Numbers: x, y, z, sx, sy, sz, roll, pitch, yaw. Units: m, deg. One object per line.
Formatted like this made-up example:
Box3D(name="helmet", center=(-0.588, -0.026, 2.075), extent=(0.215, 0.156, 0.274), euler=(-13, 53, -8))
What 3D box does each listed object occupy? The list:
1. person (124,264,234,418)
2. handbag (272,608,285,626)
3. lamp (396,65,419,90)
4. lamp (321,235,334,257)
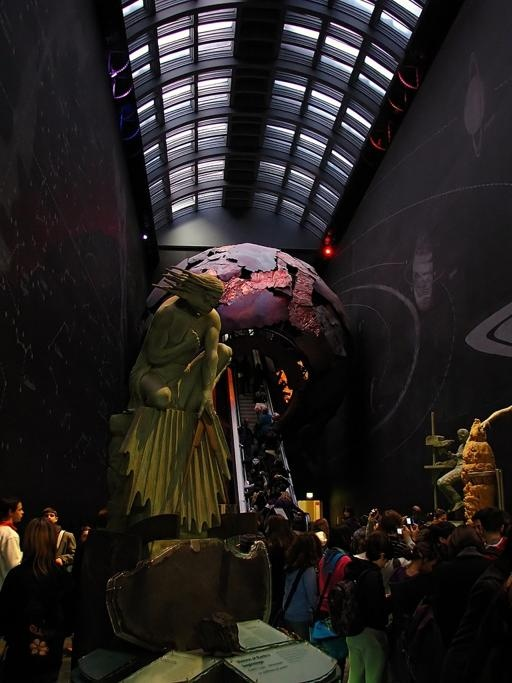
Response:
Box3D(name="person", center=(-0.841, 0.031, 4.854), extent=(1.078, 1.513, 0.769), euler=(7, -21, -5))
Box3D(name="handbag", center=(0.188, 2.276, 3.510), extent=(0.035, 0.103, 0.139), euler=(10, -42, -28))
Box3D(name="lamp", center=(4.403, -7.524, 12.181), extent=(0.586, 0.561, 0.613), euler=(-9, -25, 32))
Box3D(name="lamp", center=(3.526, -4.536, 20.566), extent=(0.213, 0.872, 0.560), euler=(1, -4, -33))
